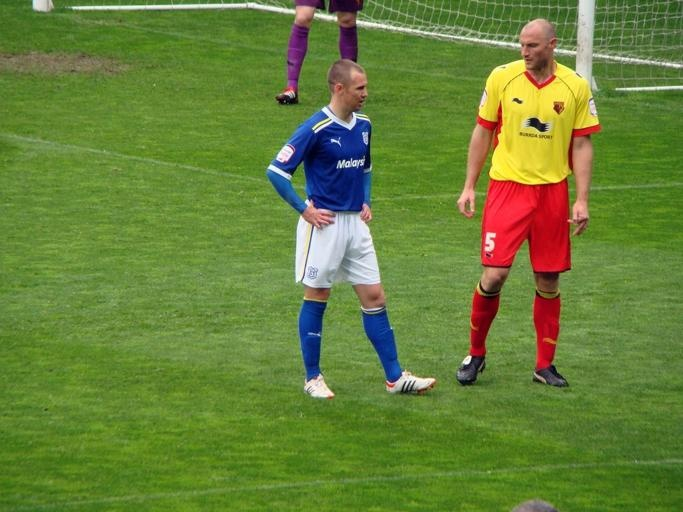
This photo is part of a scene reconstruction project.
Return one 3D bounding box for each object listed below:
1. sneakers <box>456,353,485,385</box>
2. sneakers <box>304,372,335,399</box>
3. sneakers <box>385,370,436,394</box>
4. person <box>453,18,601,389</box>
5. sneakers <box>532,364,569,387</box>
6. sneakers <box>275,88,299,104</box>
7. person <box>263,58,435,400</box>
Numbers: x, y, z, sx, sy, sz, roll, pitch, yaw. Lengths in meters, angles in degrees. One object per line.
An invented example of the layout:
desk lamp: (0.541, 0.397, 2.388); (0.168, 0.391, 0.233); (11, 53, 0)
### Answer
sneakers: (0.901, 0.805, 10.560); (0.115, 0.124, 0.294); (13, 21, 22)
sneakers: (-0.151, 0.899, 10.327); (0.205, 0.144, 0.214); (-3, 14, -26)
sneakers: (0.470, 0.891, 10.441); (0.392, 0.172, 0.134); (-6, 1, 6)
person: (1.292, -0.378, 10.515); (0.941, 2.527, 0.547); (3, 13, 1)
sneakers: (1.465, 0.857, 10.525); (0.238, 0.092, 0.122); (5, 9, 35)
sneakers: (-0.609, -1.783, 16.718); (0.145, 0.105, 0.314); (32, 13, 22)
person: (-0.018, -0.175, 10.251); (0.841, 2.277, 0.702); (-3, 14, -26)
